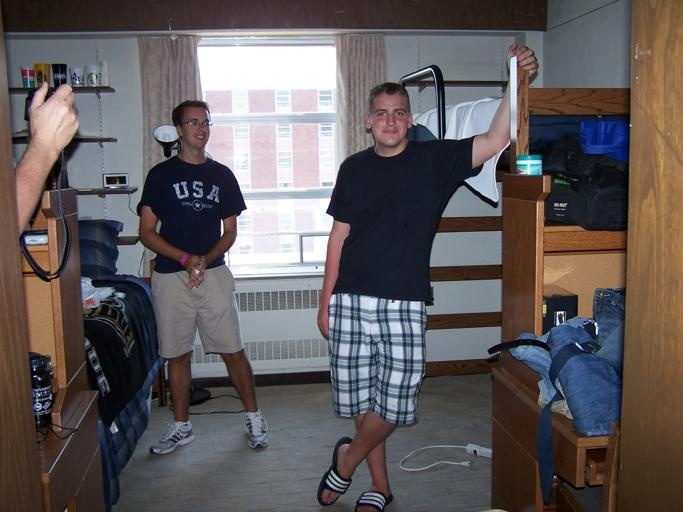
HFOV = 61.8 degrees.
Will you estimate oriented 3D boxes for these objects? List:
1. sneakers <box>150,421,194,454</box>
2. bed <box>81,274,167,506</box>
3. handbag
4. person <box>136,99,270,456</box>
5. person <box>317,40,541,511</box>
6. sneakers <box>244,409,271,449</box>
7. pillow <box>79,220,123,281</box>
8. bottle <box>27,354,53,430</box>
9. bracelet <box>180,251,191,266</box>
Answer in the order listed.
[{"bbox_3d":[-0.969,1.056,3.336,0.091,0.132,0.280,2,1,27],"label":"sneakers"},{"bbox_3d":[-1.132,0.627,2.991,0.570,0.927,0.464,3,-32,-15],"label":"bed"},{"bbox_3d":[1.143,-0.351,2.700,0.371,0.450,0.421,3,9,23],"label":"handbag"},{"bbox_3d":[-0.826,0.105,3.336,0.664,2.003,0.501,-3,8,-16],"label":"person"},{"bbox_3d":[0.255,0.235,2.559,0.806,1.976,0.310,1,8,14],"label":"person"},{"bbox_3d":[-0.485,1.022,3.347,0.091,0.112,0.236,-2,8,-11],"label":"sneakers"},{"bbox_3d":[-1.650,-0.033,3.932,0.384,0.471,0.130,-1,-6,-39],"label":"pillow"},{"bbox_3d":[-0.967,0.441,1.855,0.056,0.260,0.089,4,9,33],"label":"bottle"},{"bbox_3d":[-0.873,0.021,3.206,0.041,0.066,0.071,-9,11,-43],"label":"bracelet"}]
